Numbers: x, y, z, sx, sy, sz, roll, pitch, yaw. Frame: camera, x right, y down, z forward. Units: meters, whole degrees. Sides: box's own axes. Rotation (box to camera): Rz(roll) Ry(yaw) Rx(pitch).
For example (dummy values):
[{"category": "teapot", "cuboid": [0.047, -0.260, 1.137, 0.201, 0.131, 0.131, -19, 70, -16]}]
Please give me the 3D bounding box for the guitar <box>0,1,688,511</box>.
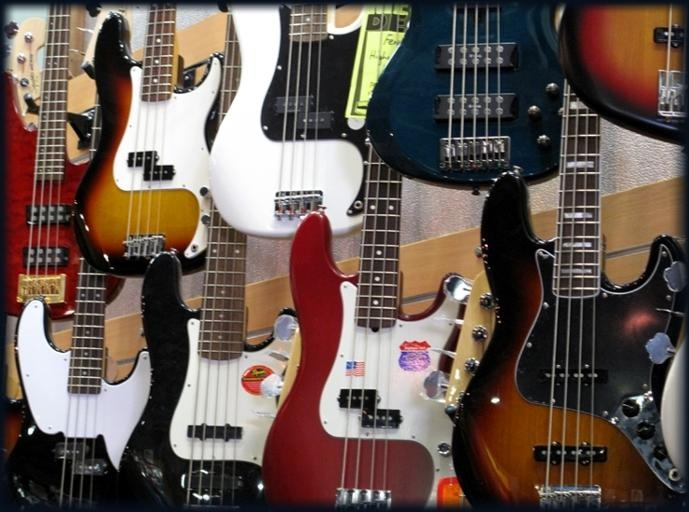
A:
[{"category": "guitar", "cuboid": [0.034, 0.020, 2.335, 1.262, 0.479, 0.136, -23, -22, -7]}]
